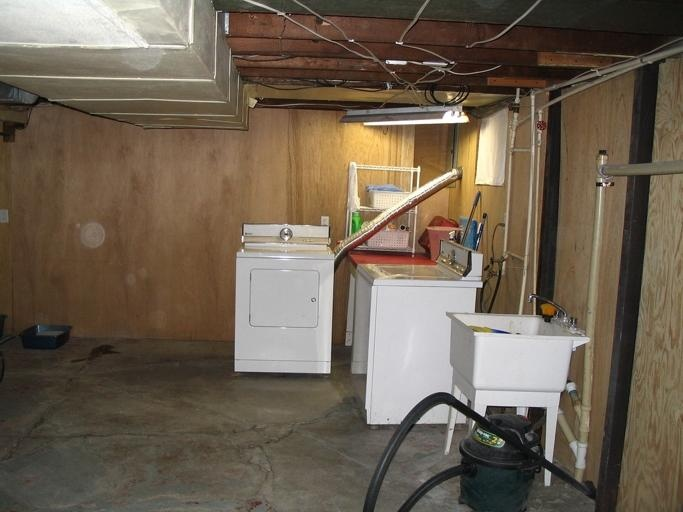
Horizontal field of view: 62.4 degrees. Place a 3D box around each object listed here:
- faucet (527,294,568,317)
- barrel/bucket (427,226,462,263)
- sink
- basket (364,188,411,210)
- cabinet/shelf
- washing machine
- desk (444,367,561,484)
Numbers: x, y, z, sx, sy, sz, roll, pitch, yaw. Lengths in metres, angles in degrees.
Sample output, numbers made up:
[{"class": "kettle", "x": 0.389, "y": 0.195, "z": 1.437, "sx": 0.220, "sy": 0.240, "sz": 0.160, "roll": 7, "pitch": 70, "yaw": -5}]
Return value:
[{"class": "faucet", "x": 1.450, "y": 0.340, "z": 3.940, "sx": 0.211, "sy": 0.102, "sz": 0.089, "roll": 24, "pitch": 31, "yaw": 30}, {"class": "barrel/bucket", "x": 0.994, "y": -0.129, "z": 5.502, "sx": 0.307, "sy": 0.276, "sz": 0.357, "roll": 1, "pitch": 4, "yaw": 1}, {"class": "sink", "x": 1.111, "y": 0.611, "z": 3.673, "sx": 0.785, "sy": 0.395, "sz": 0.515, "roll": 2, "pitch": 12, "yaw": -1}, {"class": "basket", "x": 0.465, "y": -0.574, "z": 5.615, "sx": 0.291, "sy": 0.123, "sz": 0.204, "roll": 0, "pitch": 7, "yaw": -2}, {"class": "cabinet/shelf", "x": 0.282, "y": -0.540, "z": 5.980, "sx": 0.992, "sy": 1.305, "sz": 0.778, "roll": 0, "pitch": 14, "yaw": -5}, {"class": "washing machine", "x": 0.405, "y": 0.593, "z": 4.749, "sx": 1.051, "sy": 1.372, "sz": 1.464, "roll": 2, "pitch": 3, "yaw": -3}, {"class": "desk", "x": 1.056, "y": 0.951, "z": 3.753, "sx": 0.531, "sy": 0.899, "sz": 0.570, "roll": 2, "pitch": 3, "yaw": 2}]
